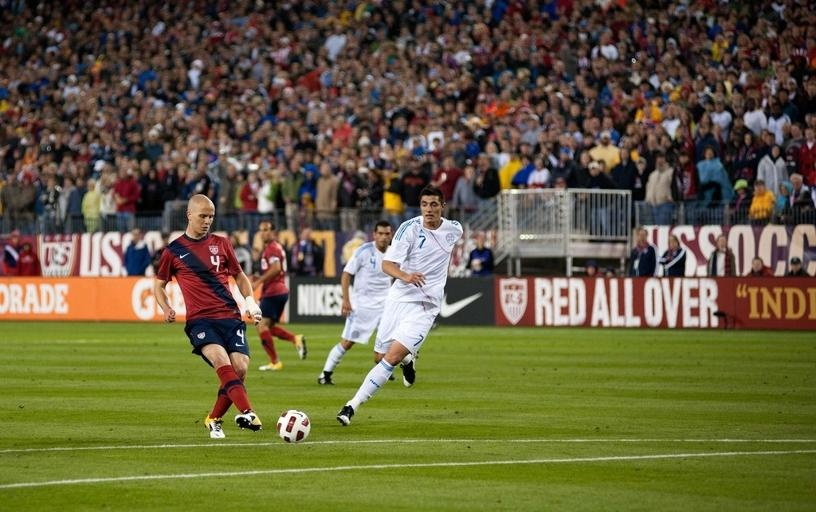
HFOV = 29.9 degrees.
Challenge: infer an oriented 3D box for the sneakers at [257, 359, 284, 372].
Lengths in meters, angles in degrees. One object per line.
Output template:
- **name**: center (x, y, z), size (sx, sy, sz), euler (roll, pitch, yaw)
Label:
- **sneakers**: center (-3.227, 2.648, 36.468), size (0.639, 0.284, 0.220), euler (2, -2, 4)

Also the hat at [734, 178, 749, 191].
- **hat**: center (9.083, -1.978, 41.323), size (0.321, 0.192, 0.220), euler (-5, 0, -14)
